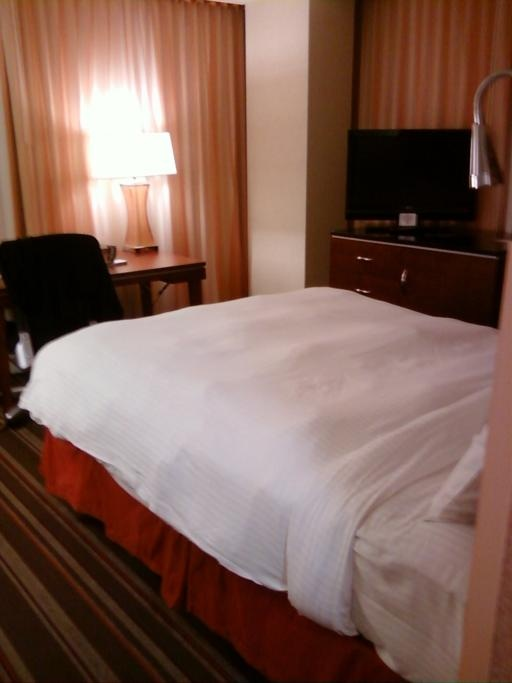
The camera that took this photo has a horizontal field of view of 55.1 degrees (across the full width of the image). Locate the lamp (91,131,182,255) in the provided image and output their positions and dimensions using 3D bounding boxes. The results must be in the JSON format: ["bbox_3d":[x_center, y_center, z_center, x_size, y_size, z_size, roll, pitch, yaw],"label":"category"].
[{"bbox_3d":[-0.785,-1.088,3.567,0.577,1.110,0.665,7,21,20],"label":"lamp"}]
